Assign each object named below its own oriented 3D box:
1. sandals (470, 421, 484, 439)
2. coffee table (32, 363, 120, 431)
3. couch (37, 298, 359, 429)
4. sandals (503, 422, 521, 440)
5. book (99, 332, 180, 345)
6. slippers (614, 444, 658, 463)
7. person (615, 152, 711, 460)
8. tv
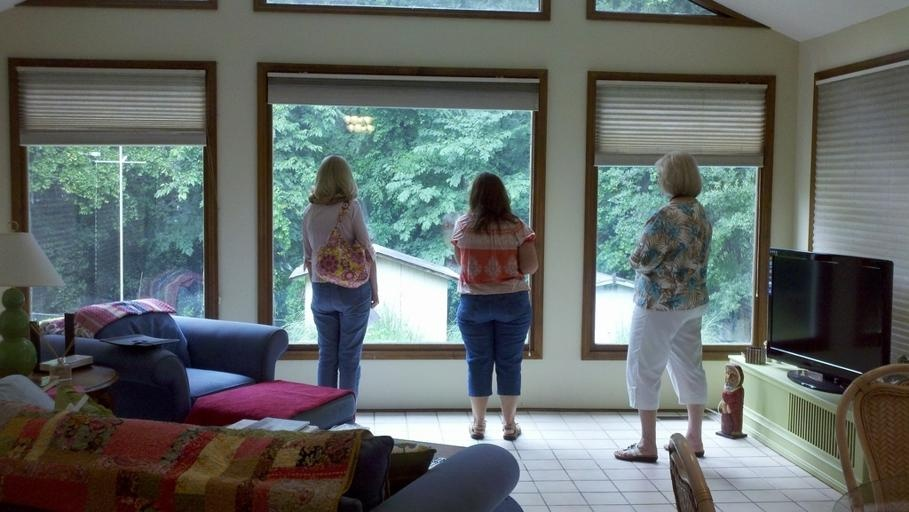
[{"bbox_3d":[0.200,1.536,6.096,0.075,0.080,0.198,1,5,3],"label":"sandals"},{"bbox_3d":[-2.632,0.900,4.761,0.603,0.184,0.556,19,8,9],"label":"coffee table"},{"bbox_3d":[-2.015,0.922,5.524,2.137,0.780,1.143,2,4,26],"label":"couch"},{"bbox_3d":[0.498,1.539,6.091,0.086,0.098,0.224,0,3,10],"label":"sandals"},{"bbox_3d":[-2.559,0.666,5.470,0.555,0.052,0.267,4,7,26],"label":"book"},{"bbox_3d":[1.533,1.636,5.798,0.302,0.112,0.152,3,-8,4],"label":"slippers"},{"bbox_3d":[1.777,0.429,5.773,0.768,2.565,0.342,2,6,5],"label":"person"},{"bbox_3d":[3.047,0.525,5.719,0.262,1.100,0.989,-1,6,-28],"label":"tv"}]
